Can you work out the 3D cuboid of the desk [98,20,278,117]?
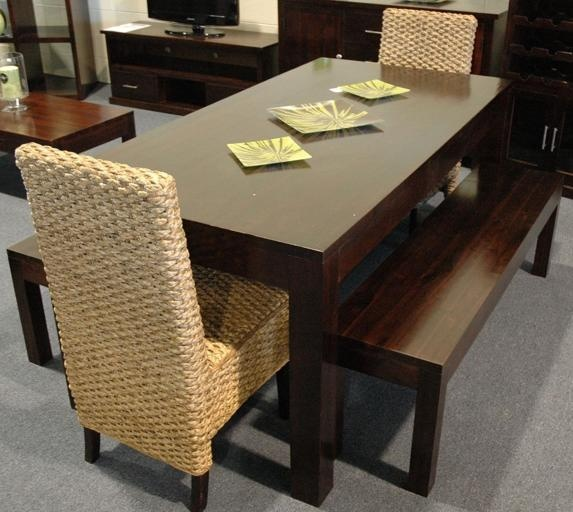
[{"bbox_3d":[-0.740,-1.472,4.298,1.372,0.536,0.449,12,37,16],"label":"desk"}]

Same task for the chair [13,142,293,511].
[{"bbox_3d":[-0.273,0.155,1.374,0.432,0.952,0.450,16,34,23],"label":"chair"}]

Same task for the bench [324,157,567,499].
[{"bbox_3d":[0.472,0.235,1.582,0.309,0.375,1.113,25,43,32],"label":"bench"}]
